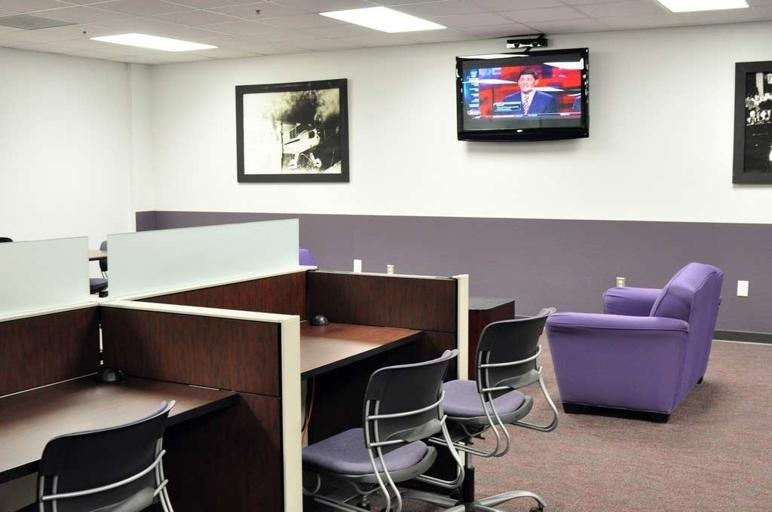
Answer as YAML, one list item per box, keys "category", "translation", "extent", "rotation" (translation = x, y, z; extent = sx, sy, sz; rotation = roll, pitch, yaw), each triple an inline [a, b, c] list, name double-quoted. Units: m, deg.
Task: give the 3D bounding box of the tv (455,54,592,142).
- category: "tv"
  translation: [1.877, -2.073, 7.184]
  extent: [1.151, 0.818, 0.107]
  rotation: [1, 6, 20]
